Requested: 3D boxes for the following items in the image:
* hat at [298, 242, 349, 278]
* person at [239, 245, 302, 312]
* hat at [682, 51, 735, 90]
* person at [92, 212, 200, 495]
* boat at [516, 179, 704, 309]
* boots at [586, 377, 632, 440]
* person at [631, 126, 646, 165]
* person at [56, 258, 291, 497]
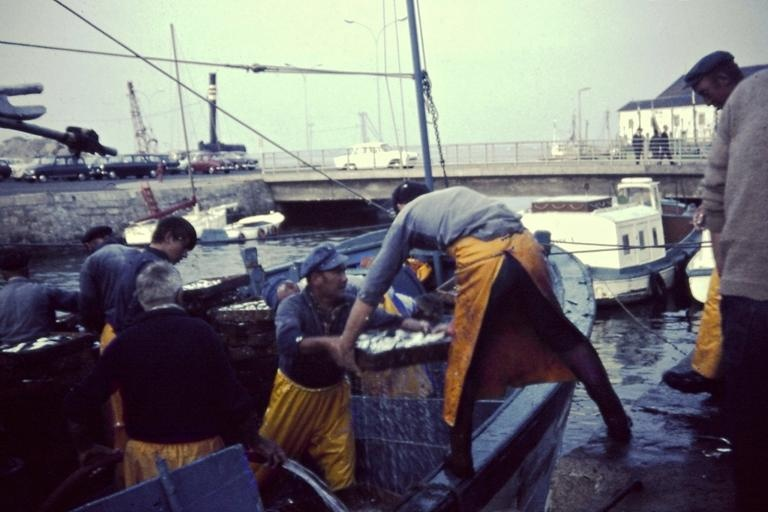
[{"bbox_3d":[-0.417,0.034,4.569,0.276,0.131,0.200,-22,2,2],"label":"hat"},{"bbox_3d":[-1.187,0.247,6.537,0.368,0.489,1.203,-13,20,-19],"label":"person"},{"bbox_3d":[2.039,-1.198,4.225,0.318,0.111,0.398,-28,-8,13],"label":"hat"},{"bbox_3d":[-1.765,0.531,5.183,0.684,1.887,0.685,1,18,-16],"label":"person"},{"bbox_3d":[5.601,-0.731,15.039,2.963,1.879,5.108,5,22,33],"label":"boat"},{"bbox_3d":[2.089,1.472,6.204,0.383,0.427,1.458,-8,-32,15],"label":"boots"},{"bbox_3d":[7.473,-3.235,19.521,0.323,0.991,1.287,-1,11,20],"label":"person"},{"bbox_3d":[-1.236,0.716,3.864,1.086,1.286,0.389,-11,11,-28],"label":"person"}]
